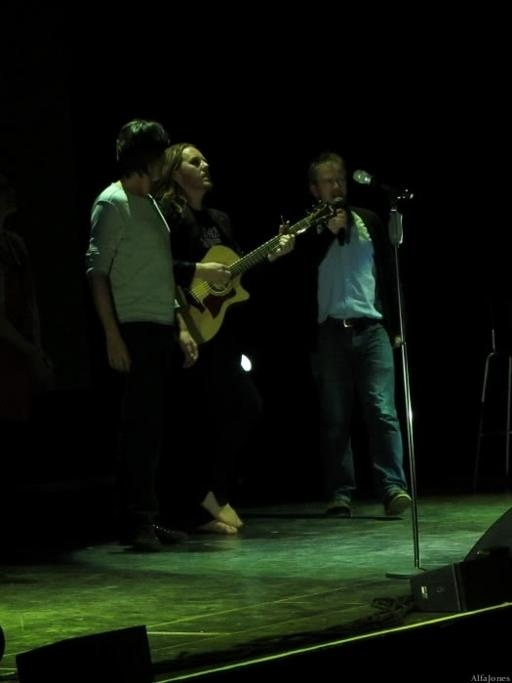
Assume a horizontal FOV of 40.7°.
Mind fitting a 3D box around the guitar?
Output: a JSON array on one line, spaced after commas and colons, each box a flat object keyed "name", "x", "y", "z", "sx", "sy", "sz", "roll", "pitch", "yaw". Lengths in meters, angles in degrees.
[{"name": "guitar", "x": 0.017, "y": -0.374, "z": 3.230, "sx": 1.010, "sy": 0.394, "sz": 0.119, "roll": -40, "pitch": 26, "yaw": -15}]

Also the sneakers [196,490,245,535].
[{"name": "sneakers", "x": -0.162, "y": 0.788, "z": 3.112, "sx": 0.160, "sy": 0.192, "sz": 0.190, "roll": -22, "pitch": -16, "yaw": -17}]

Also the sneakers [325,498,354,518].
[{"name": "sneakers", "x": 0.407, "y": 0.824, "z": 3.430, "sx": 0.118, "sy": 0.075, "sz": 0.122, "roll": -5, "pitch": 5, "yaw": 2}]

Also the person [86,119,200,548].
[{"name": "person", "x": -0.452, "y": -0.063, "z": 2.857, "sx": 0.423, "sy": 1.739, "sz": 0.618, "roll": -7, "pitch": 5, "yaw": -12}]

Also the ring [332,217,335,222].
[{"name": "ring", "x": 0.392, "y": -0.621, "z": 3.483, "sx": 0.003, "sy": 0.011, "sz": 0.022, "roll": 8, "pitch": -50, "yaw": -50}]

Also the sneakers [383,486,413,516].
[{"name": "sneakers", "x": 0.691, "y": 0.792, "z": 3.374, "sx": 0.125, "sy": 0.167, "sz": 0.214, "roll": -5, "pitch": 5, "yaw": 9}]
